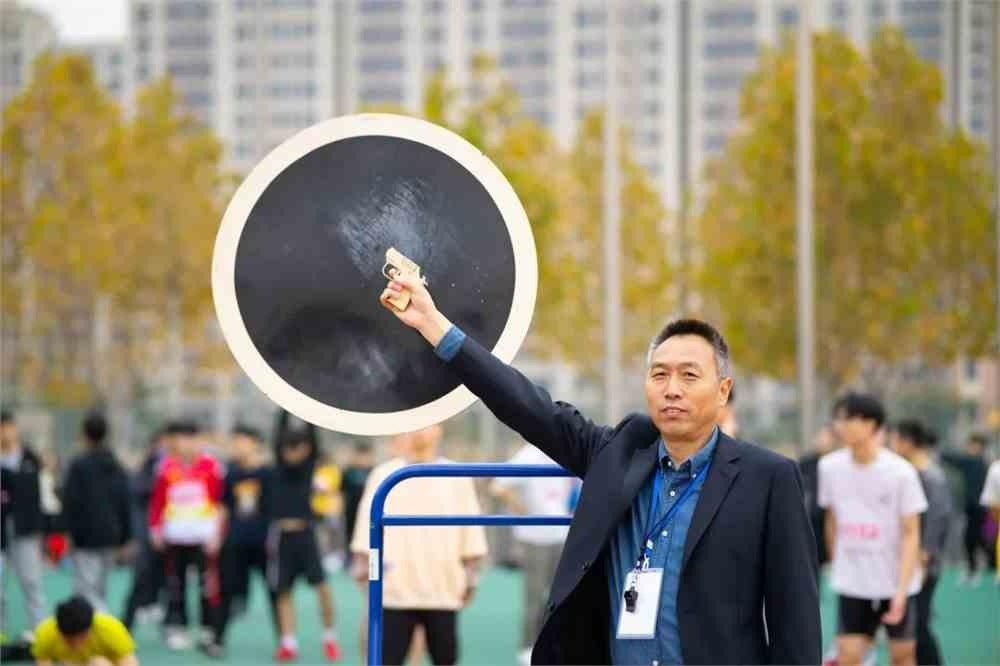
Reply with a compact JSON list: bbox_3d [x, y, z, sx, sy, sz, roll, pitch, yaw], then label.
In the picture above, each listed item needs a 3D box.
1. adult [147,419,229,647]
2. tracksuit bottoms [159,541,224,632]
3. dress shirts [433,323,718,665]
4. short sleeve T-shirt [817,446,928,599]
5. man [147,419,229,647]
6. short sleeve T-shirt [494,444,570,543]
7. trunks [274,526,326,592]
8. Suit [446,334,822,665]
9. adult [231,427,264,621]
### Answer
[{"bbox_3d":[-3.253,2.040,26.580,0.699,2.546,0.632,0,19,-3],"label":"adult"},{"bbox_3d":[-3.190,2.585,26.312,0.667,1.544,0.424,0,-31,-7],"label":"tracksuit bottoms"},{"bbox_3d":[0.693,1.448,22.605,2.252,2.934,0.698,10,-13,7],"label":"dress shirts"},{"bbox_3d":[3.459,1.756,24.143,1.022,1.568,0.507,6,29,19],"label":"short sleeve T-shirt"},{"bbox_3d":[-3.254,2.044,26.578,0.704,2.544,0.664,0,20,-4],"label":"man"},{"bbox_3d":[0.310,1.512,23.992,0.973,1.063,0.367,-1,-10,2],"label":"short sleeve T-shirt"},{"bbox_3d":[-2.047,2.274,25.828,0.631,0.752,0.269,-4,-10,-4],"label":"trunks"},{"bbox_3d":[1.180,1.495,22.580,2.259,4.177,1.087,-5,-9,22],"label":"Suit"},{"bbox_3d":[-2.616,1.993,26.317,0.490,2.016,0.550,1,15,0],"label":"adult"}]
